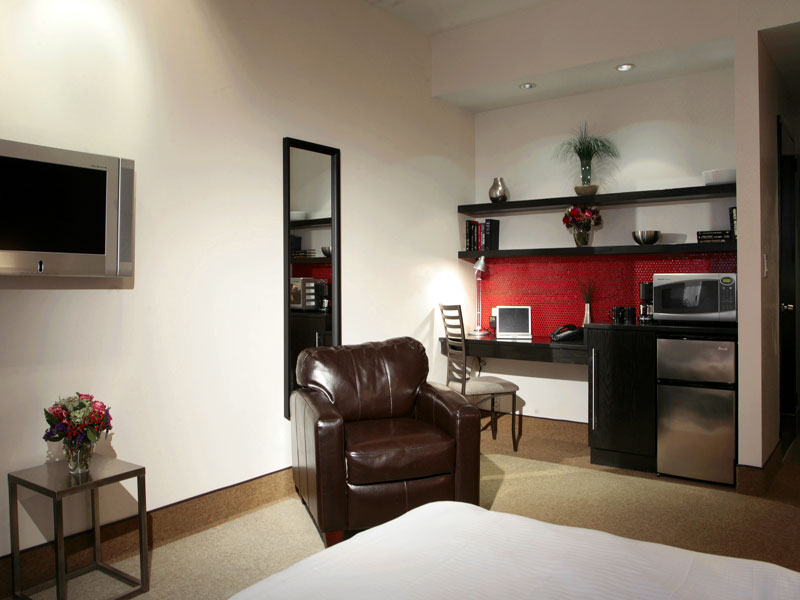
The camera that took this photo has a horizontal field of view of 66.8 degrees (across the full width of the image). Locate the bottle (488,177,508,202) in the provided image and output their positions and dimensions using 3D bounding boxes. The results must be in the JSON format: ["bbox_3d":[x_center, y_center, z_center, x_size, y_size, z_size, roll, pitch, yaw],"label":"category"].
[{"bbox_3d":[0.967,-1.097,5.989,0.205,0.303,0.215,0,7,0],"label":"bottle"}]

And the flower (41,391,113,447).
[{"bbox_3d":[-1.687,0.581,3.182,0.279,0.265,0.287,0,-4,36],"label":"flower"}]

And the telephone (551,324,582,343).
[{"bbox_3d":[1.443,0.286,5.213,0.271,0.135,0.229,-1,3,-32],"label":"telephone"}]

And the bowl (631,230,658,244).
[{"bbox_3d":[2.081,-0.533,5.139,0.211,0.120,0.138,1,3,22],"label":"bowl"}]

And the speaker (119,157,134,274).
[{"bbox_3d":[-1.570,-0.477,3.497,0.063,0.660,0.139,1,3,11],"label":"speaker"}]

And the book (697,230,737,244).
[{"bbox_3d":[2.515,-0.512,4.832,0.262,0.119,0.237,1,3,25],"label":"book"}]

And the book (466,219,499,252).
[{"bbox_3d":[0.837,-0.607,6.172,0.291,0.419,0.405,2,3,33],"label":"book"}]

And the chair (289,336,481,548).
[{"bbox_3d":[-0.164,0.810,4.083,1.166,1.394,1.159,2,-11,-24],"label":"chair"}]

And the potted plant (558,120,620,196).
[{"bbox_3d":[1.770,-1.315,5.773,0.581,0.789,0.630,-3,6,-17],"label":"potted plant"}]

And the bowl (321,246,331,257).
[{"bbox_3d":[-0.572,-0.380,4.666,0.066,0.049,0.070,-1,-5,0],"label":"bowl"}]

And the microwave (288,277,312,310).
[{"bbox_3d":[-0.720,-0.060,4.473,0.189,0.238,0.158,0,1,42],"label":"microwave"}]

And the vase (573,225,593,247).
[{"bbox_3d":[1.674,-0.586,5.586,0.170,0.215,0.180,-1,-2,12],"label":"vase"}]

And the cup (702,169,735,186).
[{"bbox_3d":[2.545,-0.992,4.860,0.128,0.075,0.170,-2,5,-19],"label":"cup"}]

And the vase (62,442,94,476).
[{"bbox_3d":[-1.644,0.816,3.096,0.136,0.189,0.149,-1,-2,11],"label":"vase"}]

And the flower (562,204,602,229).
[{"bbox_3d":[1.643,-0.745,5.492,0.210,0.169,0.265,3,3,38],"label":"flower"}]
